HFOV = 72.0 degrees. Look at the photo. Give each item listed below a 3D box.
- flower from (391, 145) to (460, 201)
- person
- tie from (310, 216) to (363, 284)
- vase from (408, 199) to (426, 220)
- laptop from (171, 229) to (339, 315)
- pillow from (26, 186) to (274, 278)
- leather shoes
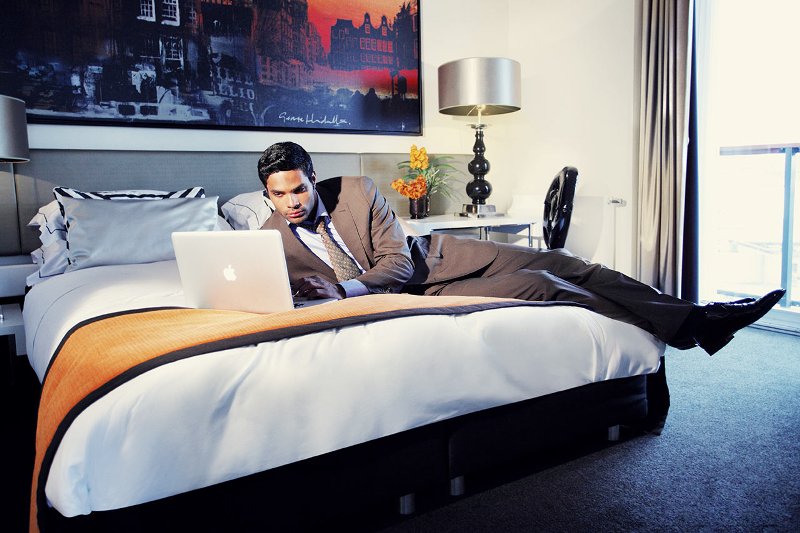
[{"bbox_3d":[0.196,-0.755,4.563,0.477,0.439,0.486,2,11,14],"label":"flower"},{"bbox_3d":[0.495,-0.036,2.821,2.596,1.137,1.102,2,11,14],"label":"person"},{"bbox_3d":[-0.295,-0.048,2.719,0.122,0.429,0.109,-19,-9,-33],"label":"tie"},{"bbox_3d":[0.148,-0.465,4.469,0.145,0.179,0.150,0,4,21],"label":"vase"},{"bbox_3d":[-0.629,0.013,2.153,0.458,0.313,0.329,2,11,22],"label":"laptop"},{"bbox_3d":[-1.554,-0.230,3.198,0.790,0.255,0.705,-13,19,-32],"label":"pillow"},{"bbox_3d":[1.866,0.325,2.958,0.484,0.215,0.148,-29,16,1],"label":"leather shoes"}]
